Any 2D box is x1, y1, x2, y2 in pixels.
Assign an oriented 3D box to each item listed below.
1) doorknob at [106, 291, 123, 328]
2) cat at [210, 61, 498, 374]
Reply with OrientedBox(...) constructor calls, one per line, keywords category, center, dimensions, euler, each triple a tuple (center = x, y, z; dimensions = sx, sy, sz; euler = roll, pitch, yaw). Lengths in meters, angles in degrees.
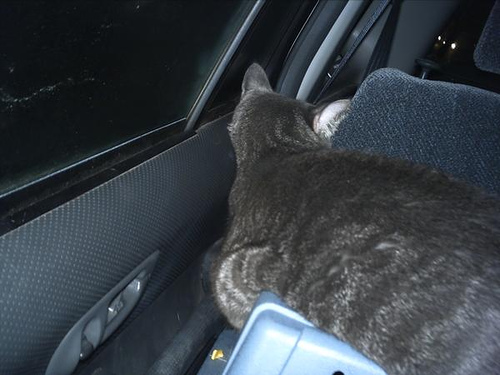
OrientedBox(category="doorknob", center=(-0.476, 0.422, 1.239), dimensions=(0.026, 0.036, 0.122), euler=(37, 43, -19))
OrientedBox(category="cat", center=(0.200, 0.165, 0.893), dimensions=(0.373, 0.568, 0.801), euler=(-20, 39, -39))
